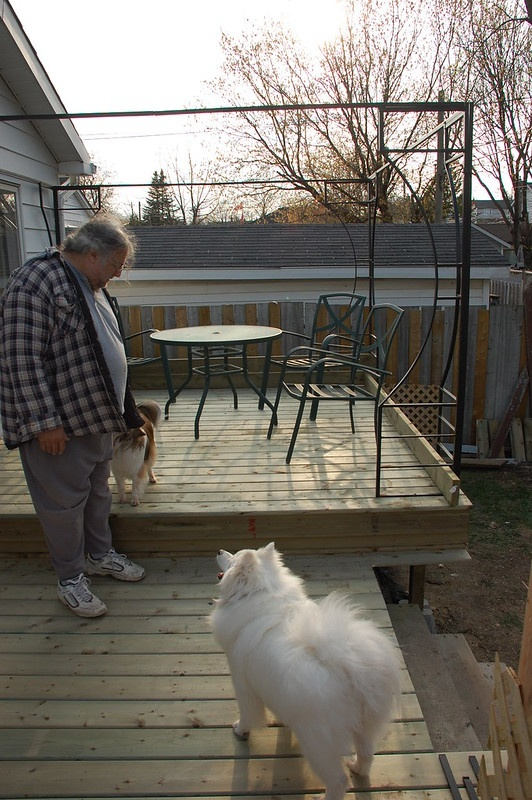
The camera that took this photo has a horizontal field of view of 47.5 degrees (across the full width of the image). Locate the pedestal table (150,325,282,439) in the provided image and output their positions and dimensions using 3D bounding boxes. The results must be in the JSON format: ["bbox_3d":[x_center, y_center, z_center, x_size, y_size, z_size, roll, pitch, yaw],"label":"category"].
[{"bbox_3d":[-0.376,-0.346,4.809,1.039,0.783,1.051,-4,19,-12],"label":"pedestal table"}]

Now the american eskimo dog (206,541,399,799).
[{"bbox_3d":[0.094,0.830,1.783,0.320,0.667,0.563,-12,19,-30],"label":"american eskimo dog"}]
